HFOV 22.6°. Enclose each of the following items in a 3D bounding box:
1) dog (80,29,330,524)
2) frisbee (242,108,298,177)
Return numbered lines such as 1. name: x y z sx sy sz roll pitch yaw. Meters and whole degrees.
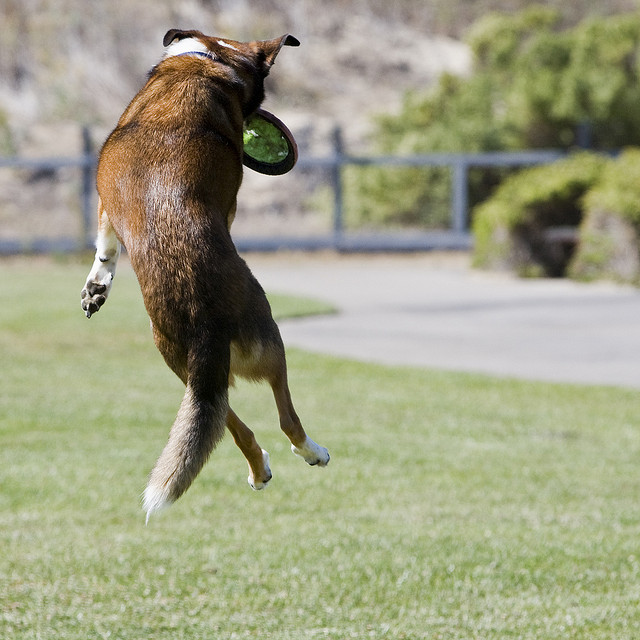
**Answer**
1. dog: -0.295 -0.328 7.759 0.906 2.773 1.586 -10 -24 17
2. frisbee: -0.261 -0.927 8.452 0.322 0.072 0.314 35 -29 -2
